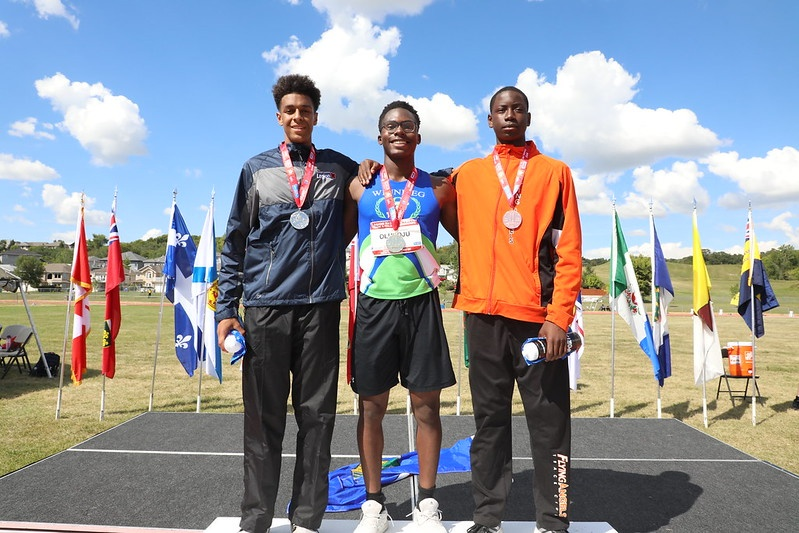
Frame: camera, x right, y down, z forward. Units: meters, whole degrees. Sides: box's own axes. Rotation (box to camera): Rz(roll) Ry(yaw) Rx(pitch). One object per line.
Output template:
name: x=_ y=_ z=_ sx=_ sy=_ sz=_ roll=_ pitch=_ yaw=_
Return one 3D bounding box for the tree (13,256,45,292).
tree: x=-46.722 y=0.374 z=72.374 sx=2.535 sy=4.437 sz=12.878 roll=-1 pitch=-4 yaw=-34

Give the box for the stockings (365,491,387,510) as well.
stockings: x=-0.249 y=2.512 z=6.157 sx=0.134 sy=0.208 sz=0.203 roll=-2 pitch=-19 yaw=0

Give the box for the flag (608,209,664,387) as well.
flag: x=4.052 y=0.490 z=9.992 sx=0.757 sy=3.078 sz=0.768 roll=-4 pitch=-4 yaw=25

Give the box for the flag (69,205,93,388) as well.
flag: x=-5.535 y=0.475 z=9.963 sx=0.302 sy=3.109 sz=0.799 roll=-1 pitch=-4 yaw=-29

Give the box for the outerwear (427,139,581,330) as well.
outerwear: x=1.159 y=-0.272 z=6.065 sx=1.777 sy=2.111 sz=1.037 roll=3 pitch=2 yaw=19

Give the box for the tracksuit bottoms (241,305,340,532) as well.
tracksuit bottoms: x=-1.152 y=1.575 z=6.082 sx=1.086 sy=2.331 sz=0.149 roll=-3 pitch=-3 yaw=-1

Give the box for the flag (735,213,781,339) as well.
flag: x=6.423 y=0.171 z=10.395 sx=0.623 sy=1.535 sz=1.106 roll=-5 pitch=-4 yaw=33

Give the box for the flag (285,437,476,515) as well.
flag: x=-0.120 y=2.664 z=7.381 sx=2.630 sy=0.243 sz=0.917 roll=-10 pitch=20 yaw=-23
